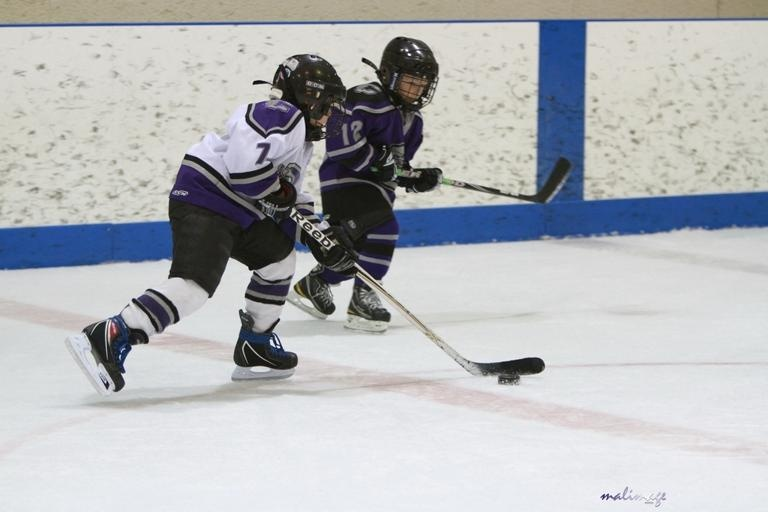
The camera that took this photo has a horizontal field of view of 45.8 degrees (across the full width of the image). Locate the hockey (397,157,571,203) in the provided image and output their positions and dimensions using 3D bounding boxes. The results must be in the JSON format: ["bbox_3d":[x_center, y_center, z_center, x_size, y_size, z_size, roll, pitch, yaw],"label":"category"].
[{"bbox_3d":[0.595,-0.434,5.288,1.045,0.238,0.092,7,-29,49],"label":"hockey"}]

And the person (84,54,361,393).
[{"bbox_3d":[-0.659,-0.134,3.423,1.034,1.268,0.315,-4,18,-32],"label":"person"}]

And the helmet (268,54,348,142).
[{"bbox_3d":[-0.341,-0.630,3.560,0.374,0.288,0.304,5,10,-10],"label":"helmet"}]

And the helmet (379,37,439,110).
[{"bbox_3d":[0.114,-0.848,4.195,0.276,0.255,0.307,-5,30,-39],"label":"helmet"}]

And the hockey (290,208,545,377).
[{"bbox_3d":[0.135,0.192,4.401,1.425,0.145,0.208,29,-5,14],"label":"hockey"}]
